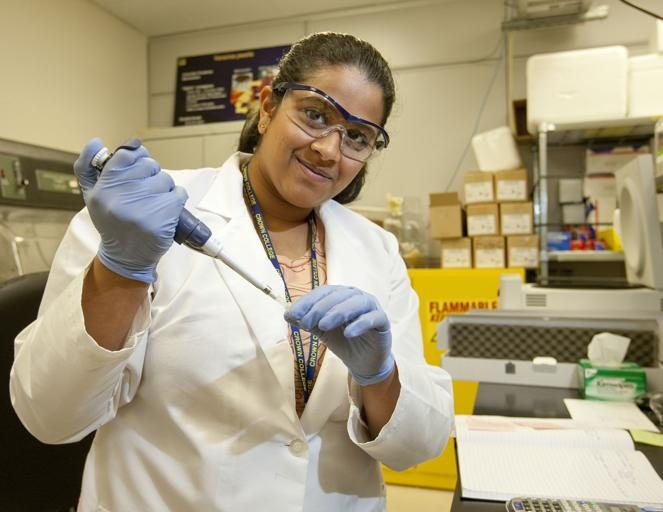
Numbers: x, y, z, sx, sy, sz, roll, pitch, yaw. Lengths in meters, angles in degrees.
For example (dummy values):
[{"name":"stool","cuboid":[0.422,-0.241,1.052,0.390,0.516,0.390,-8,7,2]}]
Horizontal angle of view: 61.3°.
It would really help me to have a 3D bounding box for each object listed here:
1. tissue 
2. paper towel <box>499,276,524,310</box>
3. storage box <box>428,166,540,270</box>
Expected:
[{"name":"tissue ","cuboid":[1.021,0.399,2.114,0.203,0.267,0.220,0,-5,7]},{"name":"paper towel","cuboid":[0.747,0.138,2.381,0.096,0.201,0.198,1,3,9]},{"name":"storage box","cuboid":[0.998,-0.227,3.693,0.604,0.643,0.640,-1,3,10]}]
